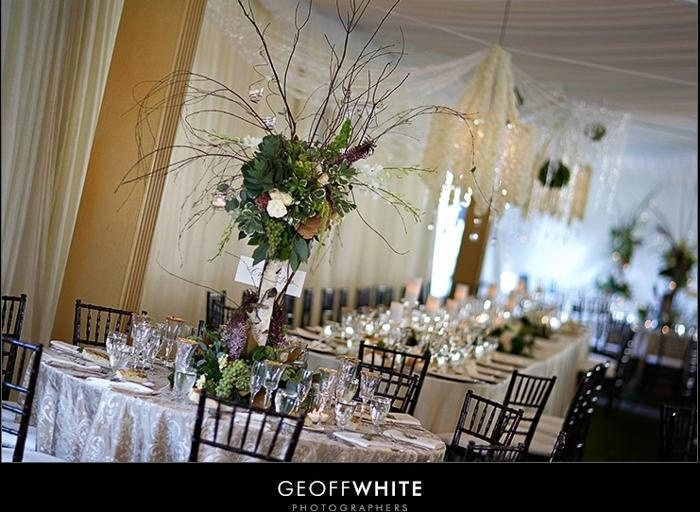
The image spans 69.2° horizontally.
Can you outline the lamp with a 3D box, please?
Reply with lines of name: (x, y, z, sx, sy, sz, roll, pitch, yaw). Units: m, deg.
lamp: (1.399, -1.460, 5.351, 1.045, 1.636, 1.710, 13, 8, 24)
